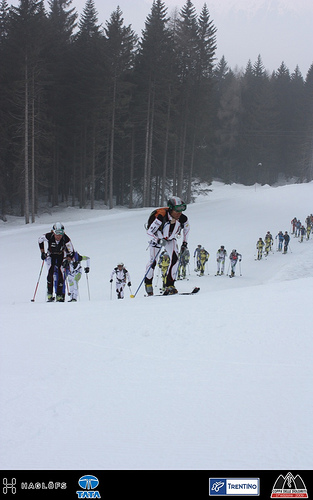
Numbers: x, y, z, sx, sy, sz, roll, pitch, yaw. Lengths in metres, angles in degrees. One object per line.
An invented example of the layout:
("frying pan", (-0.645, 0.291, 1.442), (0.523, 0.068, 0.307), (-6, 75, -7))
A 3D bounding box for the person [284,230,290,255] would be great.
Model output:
("person", (6.698, -0.389, 25.859), (0.222, 1.095, 1.412), (2, 14, 14))

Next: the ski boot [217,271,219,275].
("ski boot", (2.555, 0.945, 20.885), (0.063, 0.171, 0.181), (-5, 14, -17))

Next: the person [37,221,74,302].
("person", (-2.432, 0.318, 12.194), (0.808, 2.028, 1.102), (-2, 12, -4))

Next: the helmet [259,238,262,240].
("helmet", (5.021, -0.582, 24.181), (0.127, 0.148, 0.122), (1, 7, 12))

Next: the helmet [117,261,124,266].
("helmet", (-1.245, 0.443, 16.977), (0.115, 0.169, 0.150), (9, 9, 43))

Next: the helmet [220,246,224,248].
("helmet", (2.793, -0.158, 21.298), (0.110, 0.115, 0.110), (0, -4, -43))

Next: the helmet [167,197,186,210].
("helmet", (0.333, -0.840, 8.795), (0.286, 0.222, 0.312), (-1, 13, 0))

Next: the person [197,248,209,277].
("person", (1.921, 0.501, 20.895), (0.410, 1.156, 0.725), (0, 13, 4))

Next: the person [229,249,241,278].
("person", (3.177, 0.561, 20.508), (0.412, 1.168, 1.403), (1, 13, 9))

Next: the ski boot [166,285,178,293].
("ski boot", (0.268, 0.711, 9.022), (0.158, 0.076, 0.105), (5, 6, -13))

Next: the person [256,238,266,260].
("person", (4.971, -0.070, 23.974), (0.262, 1.100, 0.886), (2, 13, 13))

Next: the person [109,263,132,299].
("person", (-1.078, 0.983, 15.199), (0.582, 1.489, 0.469), (12, 26, 23))

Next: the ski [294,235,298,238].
("ski", (8.855, -0.893, 31.733), (0.259, 0.128, 0.228), (-2, 14, -2))

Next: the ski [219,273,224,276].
("ski", (2.701, 1.017, 20.948), (0.122, 0.093, 0.044), (0, 34, 3))
